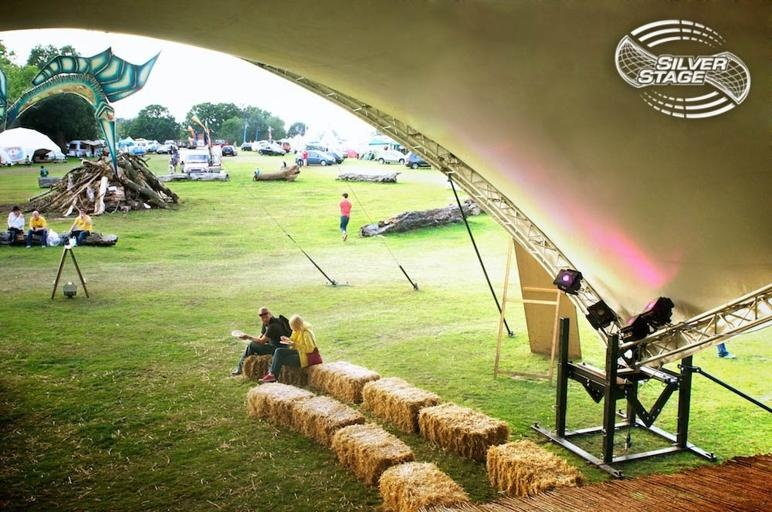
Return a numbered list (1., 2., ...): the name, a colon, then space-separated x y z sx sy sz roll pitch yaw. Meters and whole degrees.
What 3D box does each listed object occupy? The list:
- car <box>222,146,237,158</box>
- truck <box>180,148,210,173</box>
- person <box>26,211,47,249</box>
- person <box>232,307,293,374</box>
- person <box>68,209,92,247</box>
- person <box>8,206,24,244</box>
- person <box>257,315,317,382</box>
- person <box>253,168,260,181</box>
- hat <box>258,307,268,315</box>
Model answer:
1. car: -17.398 -11.577 63.007 1.143 0.797 1.653 -5 18 -15
2. truck: -14.008 -6.962 41.743 1.595 1.243 2.497 -3 6 -14
3. person: -13.250 -1.076 21.585 0.832 1.404 0.617 7 15 15
4. person: -2.636 1.831 12.033 1.067 1.249 0.585 18 -39 -13
5. person: -11.644 -1.069 21.688 0.700 1.243 2.433 -5 15 -28
6. person: -14.170 -1.199 21.732 0.549 1.458 0.960 -6 17 -30
7. person: -1.862 1.805 11.189 1.329 1.101 0.790 1 -4 -40
8. person: -9.234 -5.740 40.541 0.421 0.770 1.231 -1 14 -16
9. hat: -2.485 1.136 11.604 0.176 0.198 0.240 0 14 -8
